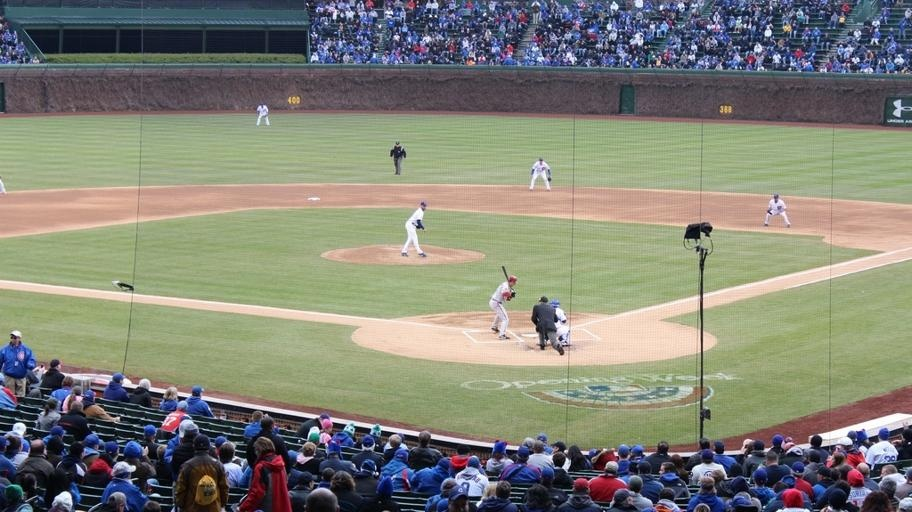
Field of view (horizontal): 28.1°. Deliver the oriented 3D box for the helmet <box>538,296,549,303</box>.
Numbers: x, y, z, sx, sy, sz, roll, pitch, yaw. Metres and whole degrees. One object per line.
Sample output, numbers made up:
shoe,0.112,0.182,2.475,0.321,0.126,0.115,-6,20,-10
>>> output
helmet,4.442,2.078,89.855,0.333,0.283,0.366,-13,35,-26
